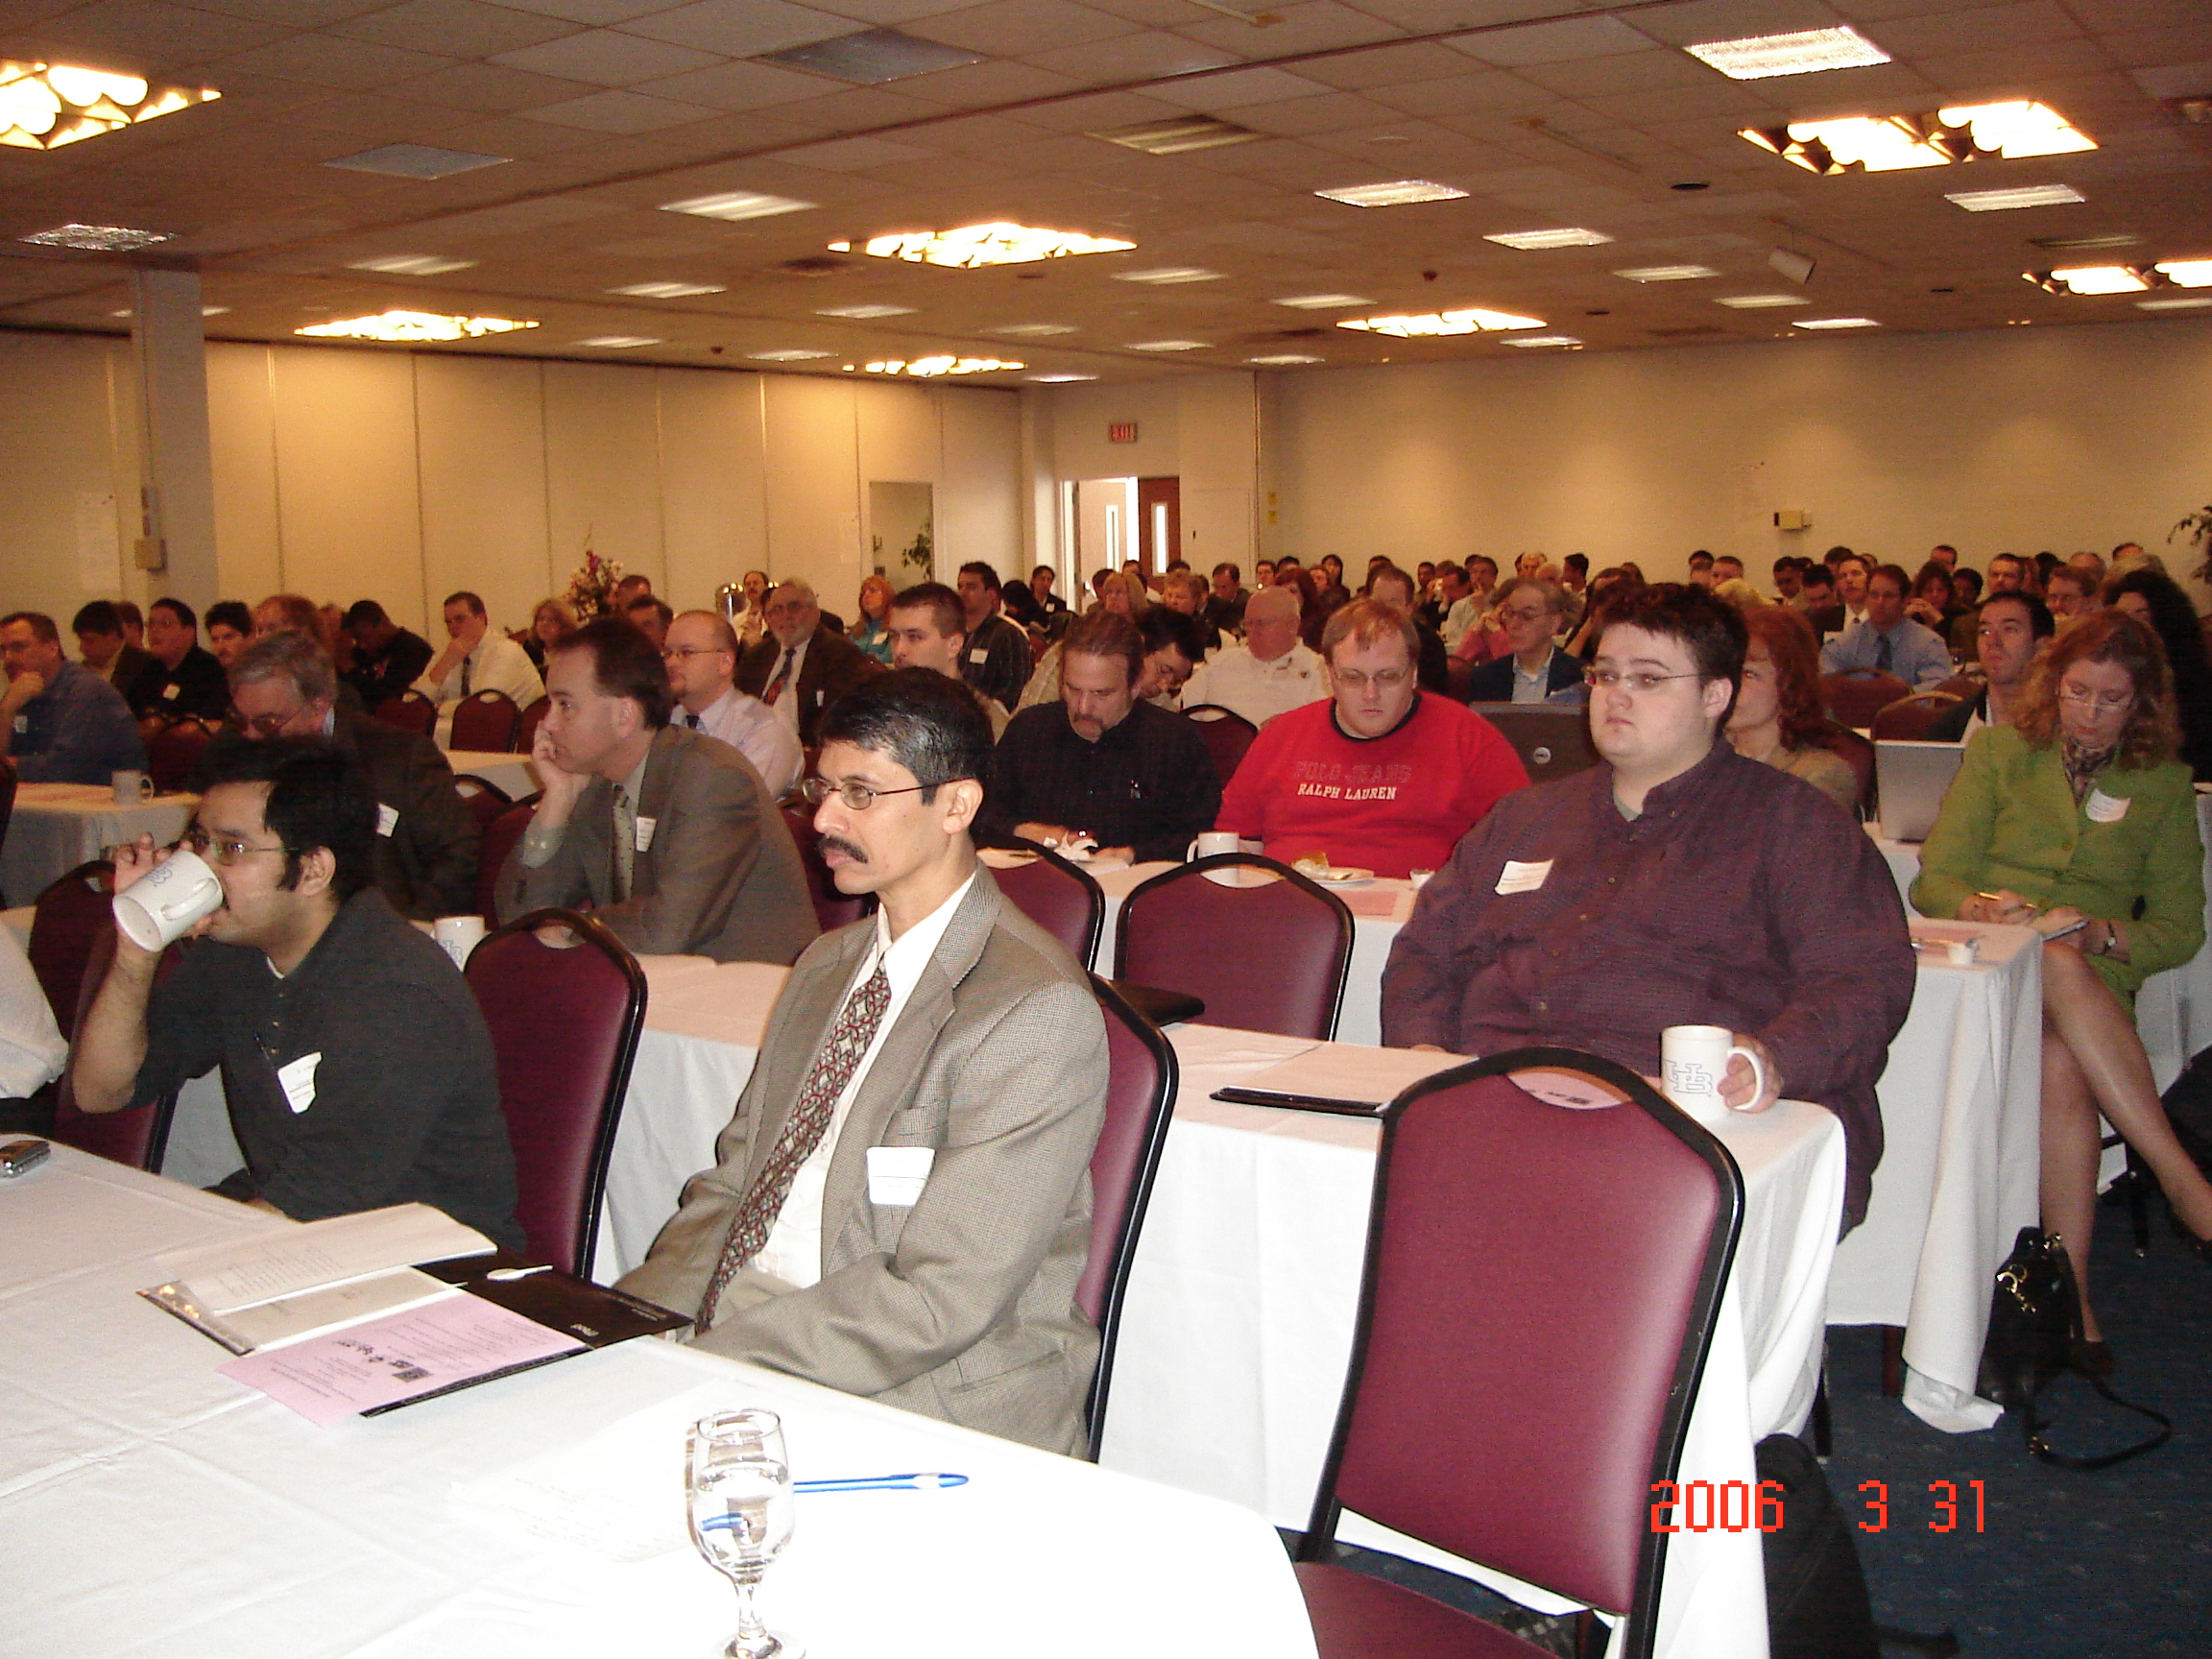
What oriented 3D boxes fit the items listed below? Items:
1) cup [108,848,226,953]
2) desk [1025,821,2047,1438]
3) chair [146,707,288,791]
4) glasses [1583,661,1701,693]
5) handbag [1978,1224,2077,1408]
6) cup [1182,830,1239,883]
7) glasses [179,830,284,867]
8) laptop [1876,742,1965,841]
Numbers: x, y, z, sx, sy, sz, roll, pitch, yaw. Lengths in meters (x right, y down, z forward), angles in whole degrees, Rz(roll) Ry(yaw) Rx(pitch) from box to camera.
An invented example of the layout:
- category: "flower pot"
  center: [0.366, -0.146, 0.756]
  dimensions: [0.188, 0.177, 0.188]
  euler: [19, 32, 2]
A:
- category: "cup"
  center: [-1.491, 0.114, 2.551]
  dimensions: [0.137, 0.133, 0.187]
  euler: [-36, 9, -39]
- category: "desk"
  center: [0.751, 0.502, 2.579]
  dimensions: [1.507, 0.569, 0.594]
  euler: [2, 3, 35]
- category: "chair"
  center: [-3.003, -0.269, 5.211]
  dimensions: [0.821, 0.244, 0.242]
  euler: [9, 11, 39]
- category: "glasses"
  center: [1.032, -0.287, 2.984]
  dimensions: [0.170, 0.047, 0.051]
  euler: [4, 11, 27]
- category: "handbag"
  center: [1.932, 1.008, 3.261]
  dimensions: [0.236, 0.325, 0.126]
  euler: [-12, 15, -43]
- category: "cup"
  center: [0.302, 0.052, 4.338]
  dimensions: [0.182, 0.128, 0.104]
  euler: [-1, 3, 5]
- category: "glasses"
  center: [-1.421, 0.028, 2.532]
  dimensions: [0.095, 0.025, 0.090]
  euler: [2, -3, 21]
- category: "laptop"
  center: [2.518, -0.145, 4.999]
  dimensions: [0.419, 0.322, 0.307]
  euler: [1, 5, 26]
